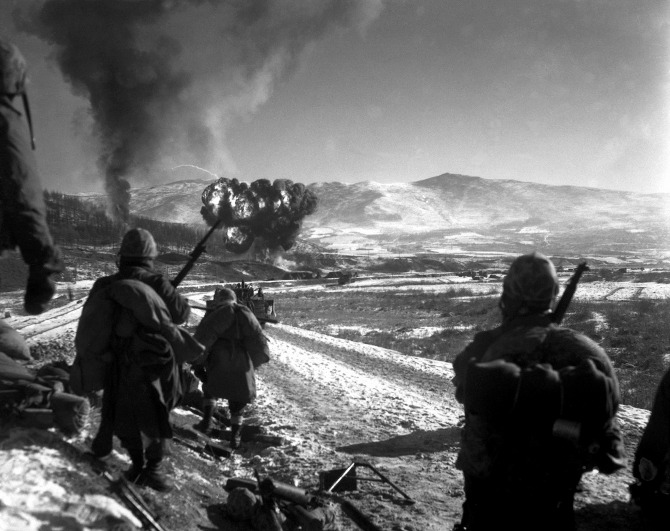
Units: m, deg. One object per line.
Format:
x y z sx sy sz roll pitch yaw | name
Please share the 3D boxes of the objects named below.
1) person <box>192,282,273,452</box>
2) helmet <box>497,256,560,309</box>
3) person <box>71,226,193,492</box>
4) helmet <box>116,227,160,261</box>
-1.197 1.163 5.480 0.822 1.765 0.446 6 0 -8 | person
0.921 0.073 2.360 0.202 0.293 0.284 4 9 11 | helmet
-1.506 0.699 3.645 0.861 1.881 0.488 6 0 -19 | person
-1.553 -0.163 3.786 0.220 0.170 0.301 3 -3 -20 | helmet
